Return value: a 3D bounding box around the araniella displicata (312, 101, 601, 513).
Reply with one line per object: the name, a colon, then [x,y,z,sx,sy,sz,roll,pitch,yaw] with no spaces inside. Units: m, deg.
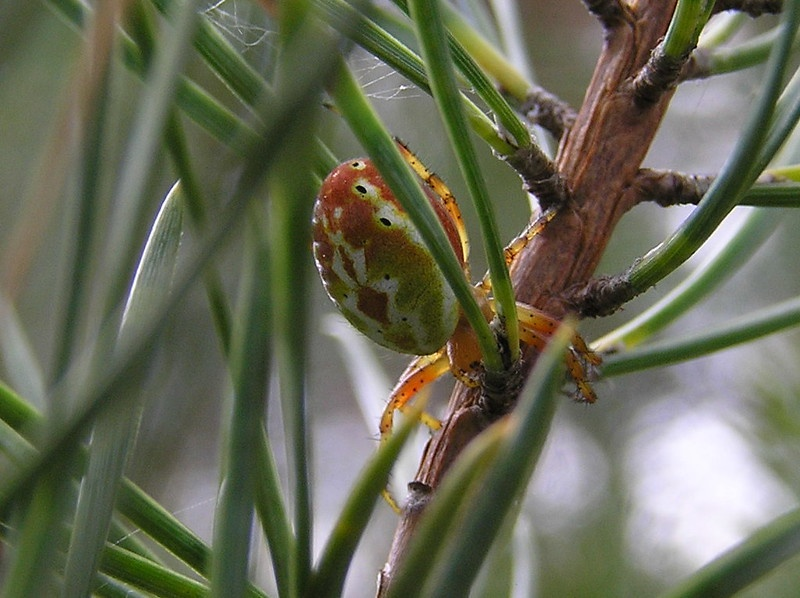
araniella displicata: [0.066,-0.029,0.830,0.272,0.083,0.260,44,-59,-14]
